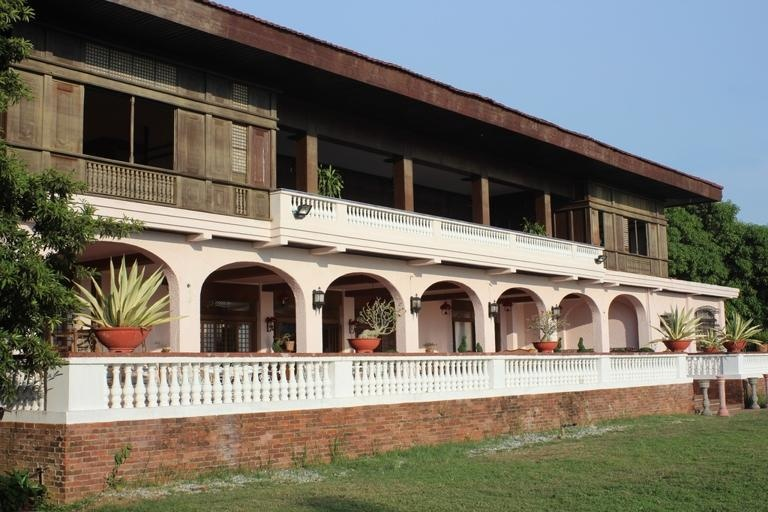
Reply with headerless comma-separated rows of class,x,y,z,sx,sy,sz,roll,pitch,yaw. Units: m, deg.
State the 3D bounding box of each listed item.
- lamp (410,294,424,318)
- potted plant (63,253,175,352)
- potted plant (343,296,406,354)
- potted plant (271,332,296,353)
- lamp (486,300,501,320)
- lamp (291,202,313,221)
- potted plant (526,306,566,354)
lamp,1.007,1.597,26.367,0.259,0.635,0.479,5,7,36
potted plant,-5.806,1.436,18.187,1.882,1.630,1.943,-5,-8,12
potted plant,-0.297,2.260,25.452,1.385,1.657,1.222,4,-11,29
potted plant,-3.333,2.869,26.561,0.893,0.672,0.922,1,-5,2
lamp,3.831,1.909,28.691,0.305,0.705,1.042,2,6,15
lamp,-2.274,-1.237,23.173,0.595,0.432,0.427,-3,7,-31
potted plant,5.619,2.797,29.276,1.116,1.276,0.844,-12,-2,34
